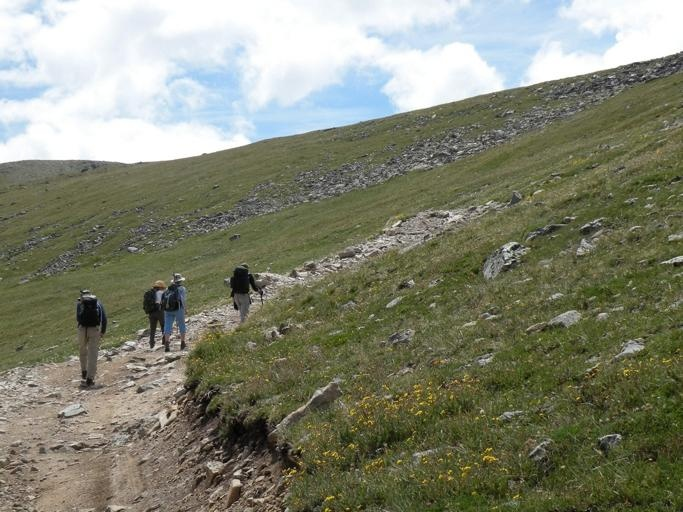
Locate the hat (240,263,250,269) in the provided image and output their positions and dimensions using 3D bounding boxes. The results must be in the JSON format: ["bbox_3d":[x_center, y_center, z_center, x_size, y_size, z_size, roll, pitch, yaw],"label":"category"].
[{"bbox_3d":[-7.015,0.734,65.752,0.445,0.563,0.574,8,11,22],"label":"hat"}]

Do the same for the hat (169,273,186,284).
[{"bbox_3d":[-14.128,1.894,78.497,1.325,0.761,1.361,-14,5,7],"label":"hat"}]

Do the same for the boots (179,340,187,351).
[{"bbox_3d":[-11.238,6.408,64.469,0.641,0.938,0.565,4,-21,-11],"label":"boots"}]
